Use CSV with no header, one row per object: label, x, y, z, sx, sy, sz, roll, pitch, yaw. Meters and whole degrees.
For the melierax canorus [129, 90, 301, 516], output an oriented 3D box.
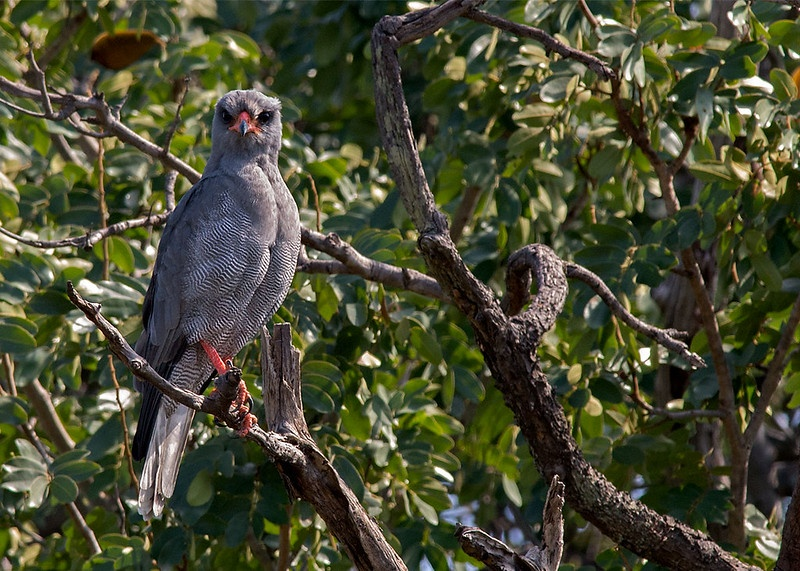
melierax canorus,-1.101,0.063,8.192,0.806,2.370,1.148,20,-42,-11
